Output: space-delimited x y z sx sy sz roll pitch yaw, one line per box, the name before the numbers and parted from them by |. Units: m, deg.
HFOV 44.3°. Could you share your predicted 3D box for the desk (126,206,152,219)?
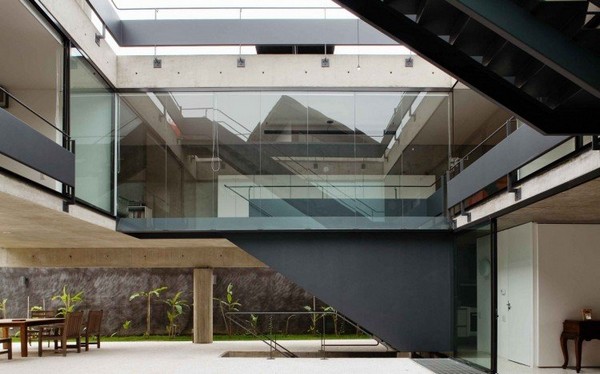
desk | -4.139 0.656 19.029 0.551 0.399 0.305 0 -9 -5
